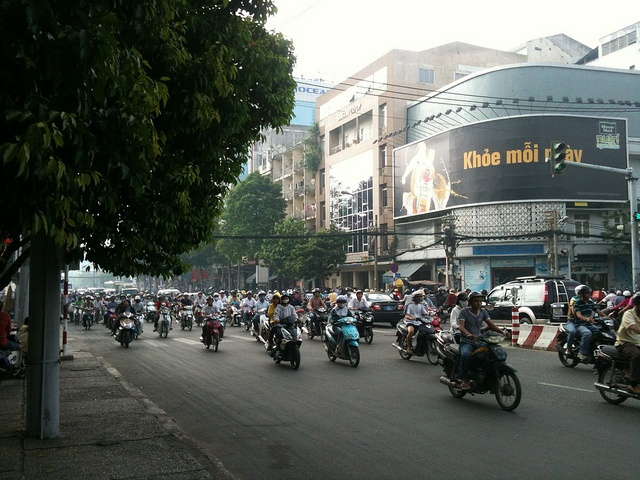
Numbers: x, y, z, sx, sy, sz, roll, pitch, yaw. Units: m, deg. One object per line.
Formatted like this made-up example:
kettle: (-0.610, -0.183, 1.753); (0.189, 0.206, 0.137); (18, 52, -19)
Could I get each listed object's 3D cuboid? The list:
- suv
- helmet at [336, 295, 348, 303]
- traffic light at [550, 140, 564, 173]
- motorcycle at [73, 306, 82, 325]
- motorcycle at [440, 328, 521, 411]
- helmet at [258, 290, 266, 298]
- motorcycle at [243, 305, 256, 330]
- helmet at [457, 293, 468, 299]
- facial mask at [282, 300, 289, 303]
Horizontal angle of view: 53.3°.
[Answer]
suv: (8.030, 2.190, 24.173); (1.983, 1.693, 3.522); (1, 0, -24)
helmet: (0.551, 1.609, 17.427); (0.262, 0.267, 0.208); (-11, -8, 25)
traffic light: (7.941, -2.738, 21.165); (0.410, 1.040, 0.592); (-1, 0, 18)
motorcycle: (-13.465, 4.172, 35.677); (0.578, 0.876, 1.419); (1, -3, -23)
motorcycle: (2.803, 2.207, 11.319); (0.725, 1.366, 2.235); (-1, -1, -25)
helmet: (-2.174, 1.926, 23.354); (0.223, 0.244, 0.186); (-14, -10, 27)
motorcycle: (-2.931, 3.360, 27.562); (0.643, 0.912, 1.389); (3, 3, -7)
helmet: (2.582, 0.982, 11.533); (0.133, 0.122, 0.107); (-6, 5, -6)
facial mask: (-0.903, 1.552, 16.405); (0.090, 0.077, 0.121); (2, 3, -17)
